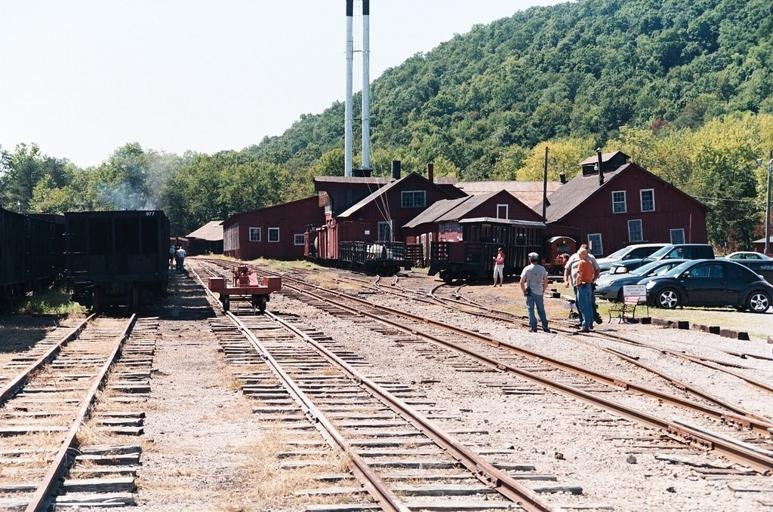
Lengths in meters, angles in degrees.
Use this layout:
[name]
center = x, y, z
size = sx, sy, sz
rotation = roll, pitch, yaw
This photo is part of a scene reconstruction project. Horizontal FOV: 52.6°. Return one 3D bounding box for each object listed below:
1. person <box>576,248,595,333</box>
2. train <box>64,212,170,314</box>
[person]
center = 5.561, 0.931, 21.984
size = 0.502, 2.429, 0.752
rotation = 0, 2, 29
[train]
center = -9.456, 0.079, 28.709
size = 2.222, 2.546, 4.643
rotation = -1, 0, -7
